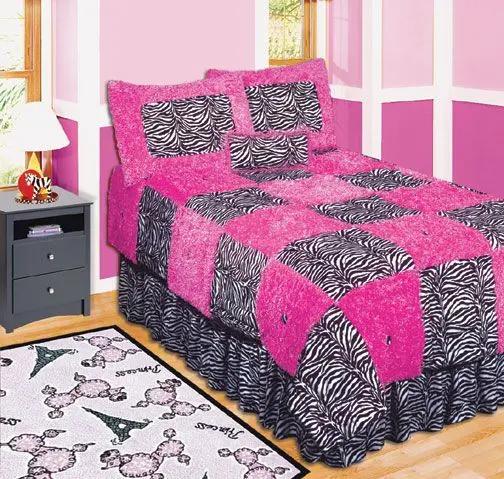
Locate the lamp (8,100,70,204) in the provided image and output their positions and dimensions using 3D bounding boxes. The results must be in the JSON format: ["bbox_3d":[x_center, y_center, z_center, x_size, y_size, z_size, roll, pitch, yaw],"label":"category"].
[{"bbox_3d":[-1.125,-0.483,2.803,0.270,0.511,0.389,-4,15,-16],"label":"lamp"}]
